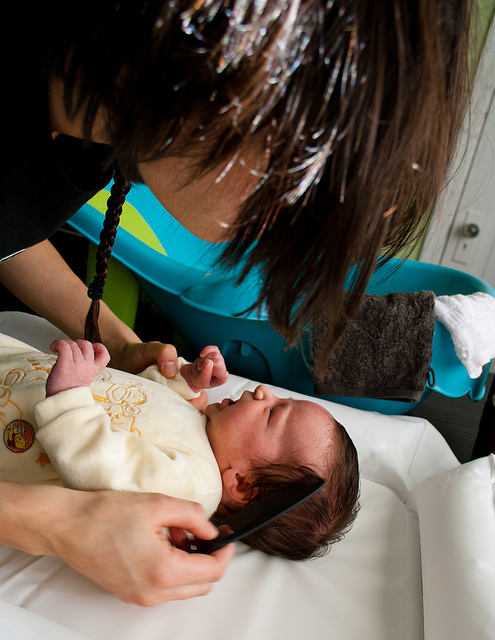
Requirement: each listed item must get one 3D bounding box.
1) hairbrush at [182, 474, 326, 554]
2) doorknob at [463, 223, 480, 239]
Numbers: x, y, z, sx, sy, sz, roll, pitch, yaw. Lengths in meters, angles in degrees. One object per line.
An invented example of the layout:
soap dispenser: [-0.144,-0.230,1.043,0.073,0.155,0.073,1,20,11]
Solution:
hairbrush: [0.013,0.288,0.779,0.201,0.109,0.075,-2,32,-47]
doorknob: [1.149,-0.445,2.631,0.075,0.068,0.053,-11,8,30]
